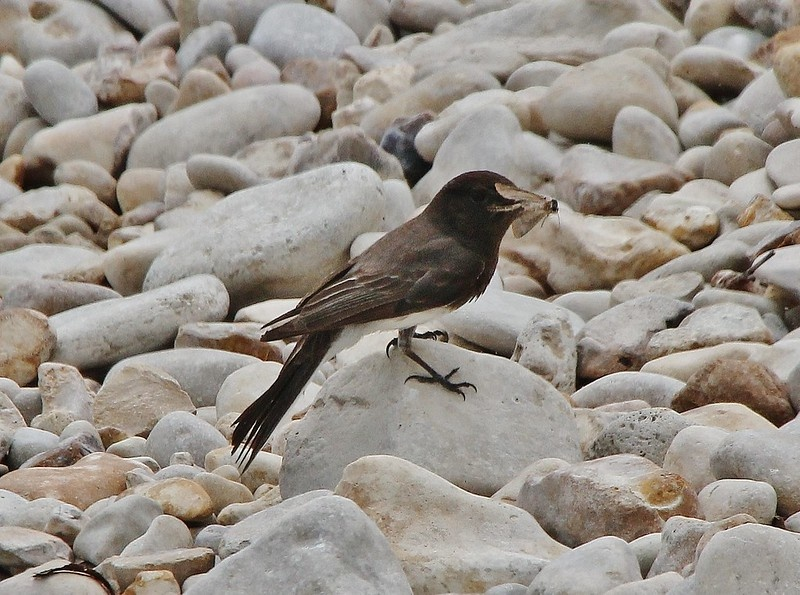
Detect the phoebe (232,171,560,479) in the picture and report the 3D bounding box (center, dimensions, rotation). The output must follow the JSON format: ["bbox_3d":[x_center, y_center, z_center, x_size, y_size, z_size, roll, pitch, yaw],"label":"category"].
[{"bbox_3d":[-0.034,0.007,8.971,1.822,1.337,0.723,-9,21,-3],"label":"phoebe"}]
